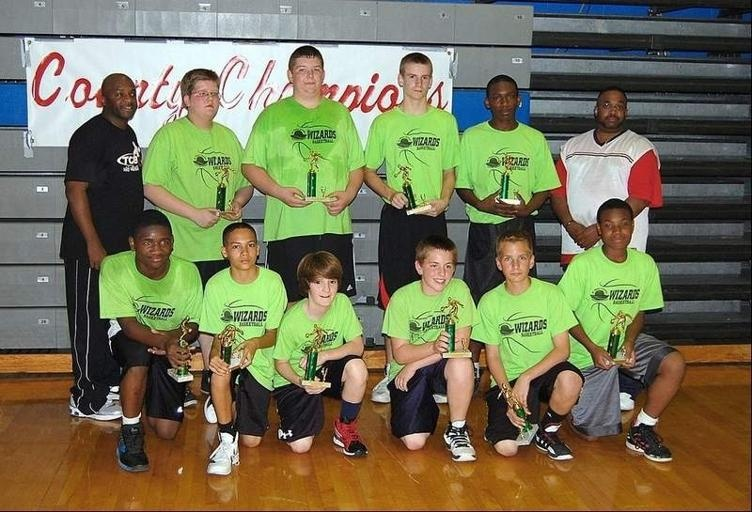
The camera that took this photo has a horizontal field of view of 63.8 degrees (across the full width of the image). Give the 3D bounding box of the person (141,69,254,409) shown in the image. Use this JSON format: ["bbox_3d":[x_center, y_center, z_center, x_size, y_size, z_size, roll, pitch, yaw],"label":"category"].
[{"bbox_3d":[-1.198,-0.103,4.218,0.774,2.155,0.627,0,4,-9],"label":"person"}]

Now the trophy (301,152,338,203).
[{"bbox_3d":[-0.374,-0.508,3.936,0.178,0.334,0.186,-1,13,-6],"label":"trophy"}]

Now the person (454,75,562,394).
[{"bbox_3d":[0.882,-0.278,4.602,0.876,2.051,0.664,3,17,2],"label":"person"}]

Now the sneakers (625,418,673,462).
[{"bbox_3d":[1.621,1.090,3.576,0.165,0.163,0.264,-10,16,-42],"label":"sneakers"}]

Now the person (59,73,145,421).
[{"bbox_3d":[-1.804,-0.033,3.954,0.713,2.222,0.682,-1,20,-11],"label":"person"}]

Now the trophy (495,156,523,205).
[{"bbox_3d":[0.938,-0.529,4.213,0.166,0.334,0.251,4,13,12],"label":"trophy"}]

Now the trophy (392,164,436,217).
[{"bbox_3d":[0.253,-0.447,4.096,0.240,0.316,0.222,-3,15,-5],"label":"trophy"}]
